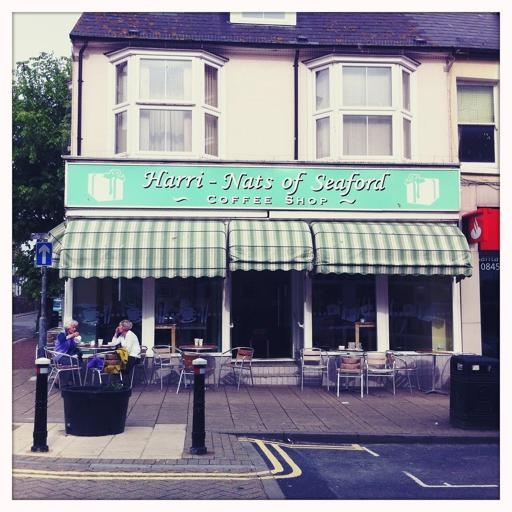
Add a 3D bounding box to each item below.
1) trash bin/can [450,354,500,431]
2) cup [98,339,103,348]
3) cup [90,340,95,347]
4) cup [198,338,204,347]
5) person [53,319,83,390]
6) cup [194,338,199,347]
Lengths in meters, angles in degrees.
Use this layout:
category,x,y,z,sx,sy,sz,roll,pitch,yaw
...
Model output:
category,x,y,z,sx,sy,sz,roll,pitch,yaw
trash bin/can,4.039,2.516,15.746,0.865,1.182,0.628,3,5,11
cup,-3.385,1.880,18.603,0.102,0.179,0.110,0,-17,0
cup,-3.580,1.909,18.686,0.079,0.162,0.079,-1,-4,0
cup,-1.223,1.895,18.794,0.117,0.178,0.130,-3,-5,9
person,-3.884,1.956,17.649,0.556,1.245,1.538,1,6,-12
cup,-1.299,1.874,18.774,0.118,0.193,0.126,0,-14,0
